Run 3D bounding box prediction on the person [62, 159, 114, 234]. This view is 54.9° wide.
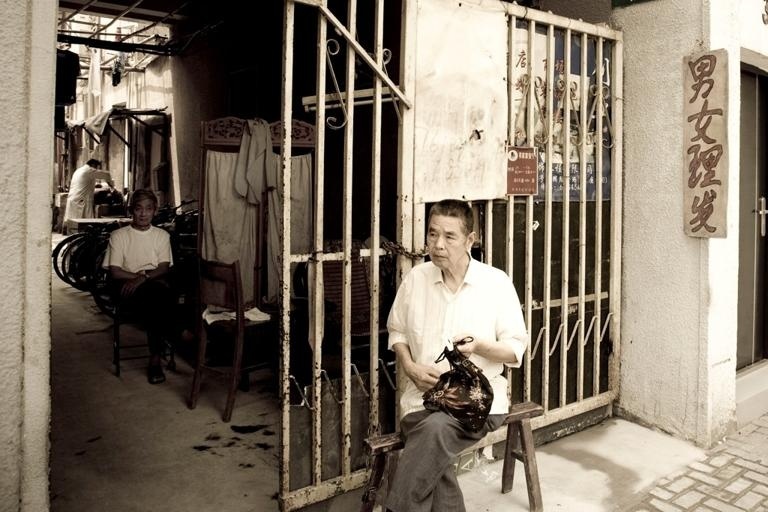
[{"bbox_3d":[-5.988,-1.039,14.980,0.840,1.782,0.821,-1,-20,-8],"label":"person"}]

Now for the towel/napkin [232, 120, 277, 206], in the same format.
[{"bbox_3d":[-1.333,-0.974,7.666,0.438,0.846,0.152,-1,7,-17],"label":"towel/napkin"}]

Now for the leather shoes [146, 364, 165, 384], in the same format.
[{"bbox_3d":[-2.392,1.200,7.716,0.190,0.185,0.283,-1,8,-18],"label":"leather shoes"}]

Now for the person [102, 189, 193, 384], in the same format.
[{"bbox_3d":[-2.518,0.287,7.860,0.739,1.950,0.619,5,8,30],"label":"person"}]

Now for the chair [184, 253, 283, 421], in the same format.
[{"bbox_3d":[-1.559,0.716,7.264,0.769,1.487,1.202,-1,7,-16],"label":"chair"}]
